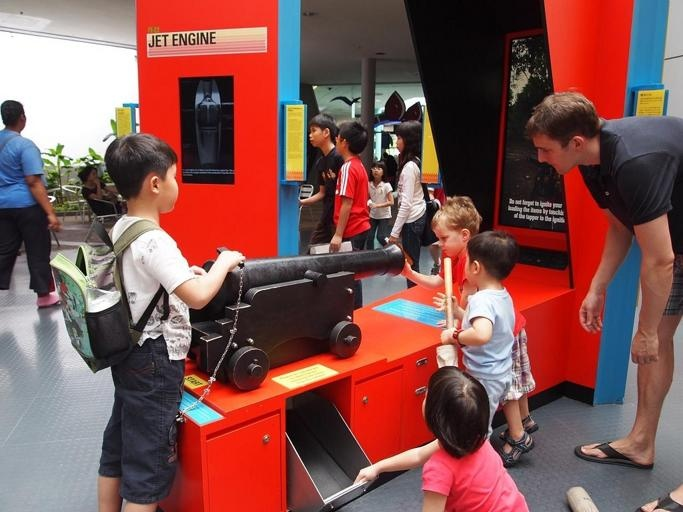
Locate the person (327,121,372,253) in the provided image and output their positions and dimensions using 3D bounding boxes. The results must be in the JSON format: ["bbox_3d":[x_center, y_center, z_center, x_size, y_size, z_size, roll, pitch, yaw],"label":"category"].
[{"bbox_3d":[0.062,-0.533,3.947,0.292,1.059,0.687,1,14,2],"label":"person"}]

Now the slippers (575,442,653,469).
[{"bbox_3d":[1.457,1.091,2.671,0.354,0.093,0.146,5,7,27],"label":"slippers"}]
